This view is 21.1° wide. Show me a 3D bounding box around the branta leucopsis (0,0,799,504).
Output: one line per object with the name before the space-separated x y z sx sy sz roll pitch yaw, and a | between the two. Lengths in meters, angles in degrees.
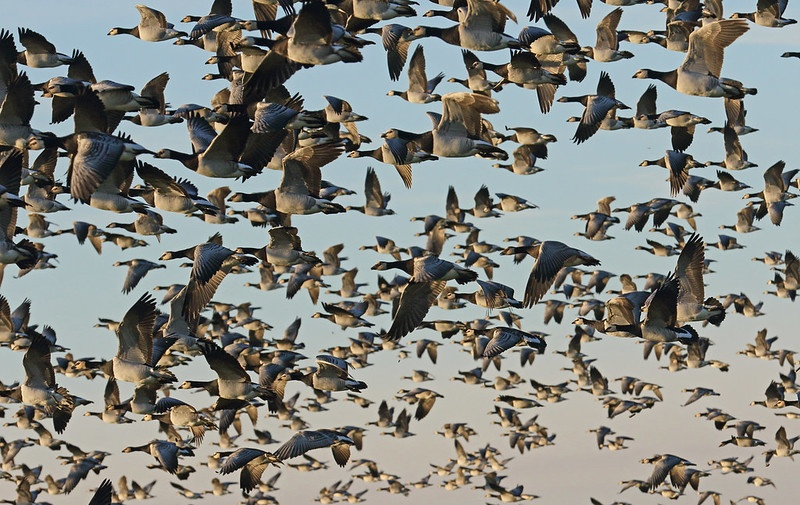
branta leucopsis | -1.491 -0.999 72.573 28.079 28.251 2.546 -3 -41 1
